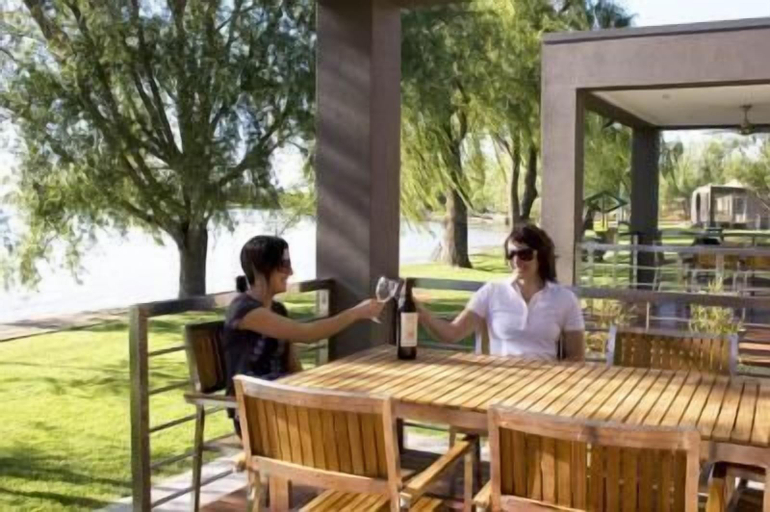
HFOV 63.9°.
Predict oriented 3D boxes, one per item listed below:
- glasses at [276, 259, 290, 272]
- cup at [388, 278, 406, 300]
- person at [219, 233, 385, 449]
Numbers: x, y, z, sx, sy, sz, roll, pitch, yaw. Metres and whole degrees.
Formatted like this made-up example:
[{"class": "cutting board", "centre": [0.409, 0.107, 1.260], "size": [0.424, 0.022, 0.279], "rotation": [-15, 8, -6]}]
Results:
[{"class": "glasses", "centre": [-0.526, 0.051, 3.244], "size": [0.018, 0.061, 0.055], "rotation": [7, 4, 39]}, {"class": "cup", "centre": [0.055, 0.167, 3.092], "size": [0.067, 0.100, 0.068], "rotation": [3, 1, 0]}, {"class": "person", "centre": [-0.398, 0.160, 3.964], "size": [1.076, 2.092, 0.702], "rotation": [-3, 11, -10]}]
